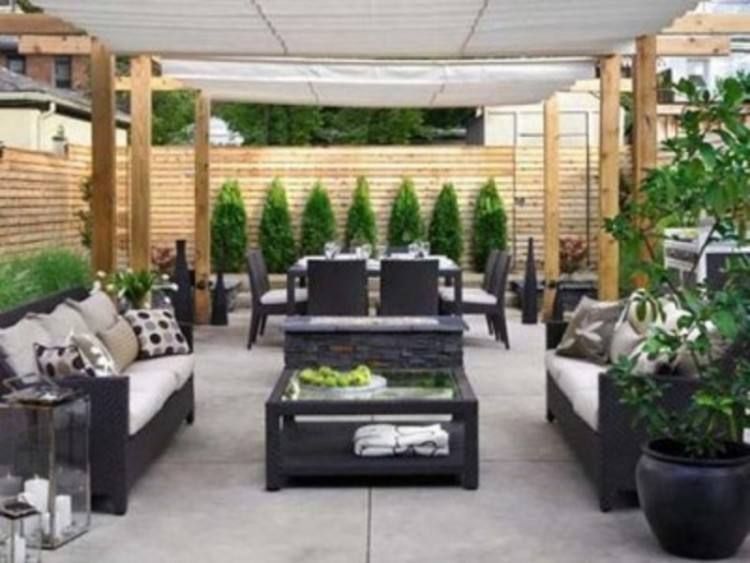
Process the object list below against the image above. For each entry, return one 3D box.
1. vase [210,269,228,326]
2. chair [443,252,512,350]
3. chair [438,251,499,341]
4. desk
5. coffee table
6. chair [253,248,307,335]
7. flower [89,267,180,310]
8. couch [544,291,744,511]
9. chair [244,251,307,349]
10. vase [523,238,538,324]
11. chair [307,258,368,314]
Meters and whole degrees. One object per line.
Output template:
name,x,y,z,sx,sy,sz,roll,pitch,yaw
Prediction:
vase,-1.833,0.178,10.131,0.196,0.618,0.395,-1,8,-10
chair,1.041,0.155,9.077,0.691,1.176,1.079,1,3,4
chair,1.020,0.150,9.037,0.660,1.107,1.015,1,3,4
desk,-0.019,0.460,6.281,1.354,0.329,0.720,2,9,8
coffee table,-0.017,0.897,5.433,1.265,0.523,0.882,0,9,-2
chair,-0.962,0.149,9.016,0.663,1.213,0.754,0,7,-1
flower,-1.901,0.048,6.739,0.466,0.322,0.463,-1,5,-26
couch,1.476,0.660,5.291,0.685,1.240,2.202,-1,6,8
chair,-1.046,0.168,9.086,0.747,1.358,0.811,0,8,-3
vase,1.863,-0.035,10.299,0.178,1.016,0.511,2,8,10
chair,-0.349,0.050,7.965,0.544,0.509,0.264,-1,8,-6
